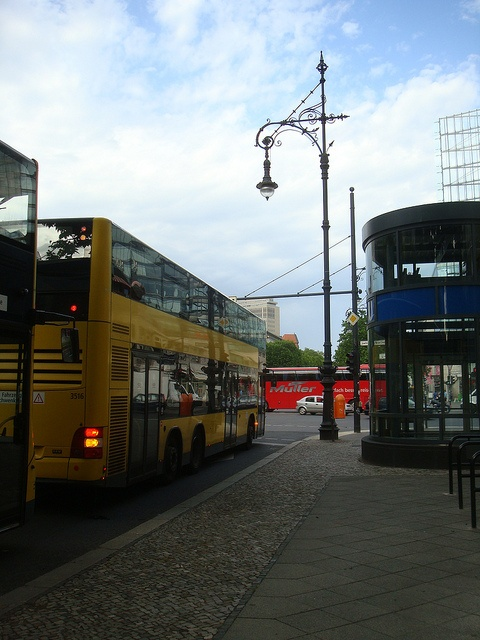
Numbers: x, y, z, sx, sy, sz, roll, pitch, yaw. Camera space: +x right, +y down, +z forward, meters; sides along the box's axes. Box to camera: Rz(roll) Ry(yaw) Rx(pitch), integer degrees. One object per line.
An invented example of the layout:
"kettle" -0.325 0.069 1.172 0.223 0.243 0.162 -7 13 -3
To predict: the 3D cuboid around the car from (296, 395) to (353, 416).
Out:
"car" 6.795 7.349 44.511 4.423 1.939 2.221 -3 -6 7
